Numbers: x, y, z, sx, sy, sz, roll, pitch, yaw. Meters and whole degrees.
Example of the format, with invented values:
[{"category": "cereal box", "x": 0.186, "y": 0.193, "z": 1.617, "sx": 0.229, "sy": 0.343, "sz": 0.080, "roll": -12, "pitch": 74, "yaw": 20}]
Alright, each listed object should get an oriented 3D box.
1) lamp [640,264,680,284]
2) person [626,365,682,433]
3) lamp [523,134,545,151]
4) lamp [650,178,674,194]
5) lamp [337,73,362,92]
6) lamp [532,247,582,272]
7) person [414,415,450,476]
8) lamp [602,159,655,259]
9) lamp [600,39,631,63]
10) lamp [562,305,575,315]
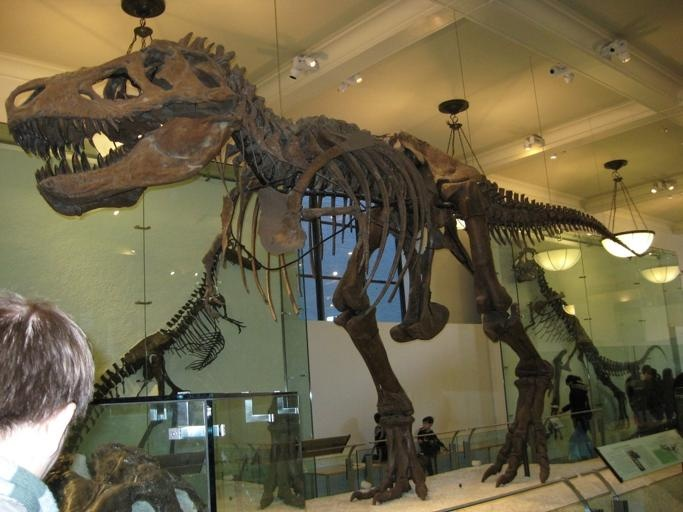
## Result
[{"category": "lamp", "x": 5.223, "y": 0.293, "z": 9.252, "sx": 0.371, "sy": 0.187, "sz": 0.365, "roll": 7, "pitch": -6, "yaw": -43}, {"category": "person", "x": 4.777, "y": 2.100, "z": 8.753, "sx": 0.683, "sy": 0.799, "sz": 0.660, "roll": -10, "pitch": -10, "yaw": 28}, {"category": "lamp", "x": 2.828, "y": -1.661, "z": 8.277, "sx": 0.338, "sy": 0.233, "sz": 0.245, "roll": -1, "pitch": 1, "yaw": -38}, {"category": "lamp", "x": 4.968, "y": -1.078, "z": 8.757, "sx": 0.236, "sy": 0.209, "sz": 0.459, "roll": -7, "pitch": -9, "yaw": 12}, {"category": "lamp", "x": 0.108, "y": -1.919, "z": 6.374, "sx": 0.269, "sy": 0.170, "sz": 0.092, "roll": -8, "pitch": -53, "yaw": 38}, {"category": "lamp", "x": 3.595, "y": 0.055, "z": 9.538, "sx": 0.471, "sy": 0.204, "sz": 0.464, "roll": 6, "pitch": -13, "yaw": -36}, {"category": "person", "x": 0.932, "y": 1.986, "z": 5.694, "sx": 0.245, "sy": 0.718, "sz": 0.219, "roll": -3, "pitch": 2, "yaw": 4}, {"category": "lamp", "x": 4.125, "y": -0.707, "z": 8.314, "sx": 0.669, "sy": 1.371, "sz": 0.670, "roll": -6, "pitch": -9, "yaw": -8}, {"category": "lamp", "x": 2.939, "y": -2.194, "z": 6.179, "sx": 0.331, "sy": 0.200, "sz": 0.337, "roll": -27, "pitch": 30, "yaw": -32}, {"category": "lamp", "x": 3.819, "y": 0.903, "z": 9.466, "sx": 0.164, "sy": 0.160, "sz": 0.040, "roll": -8, "pitch": -23, "yaw": 20}]
